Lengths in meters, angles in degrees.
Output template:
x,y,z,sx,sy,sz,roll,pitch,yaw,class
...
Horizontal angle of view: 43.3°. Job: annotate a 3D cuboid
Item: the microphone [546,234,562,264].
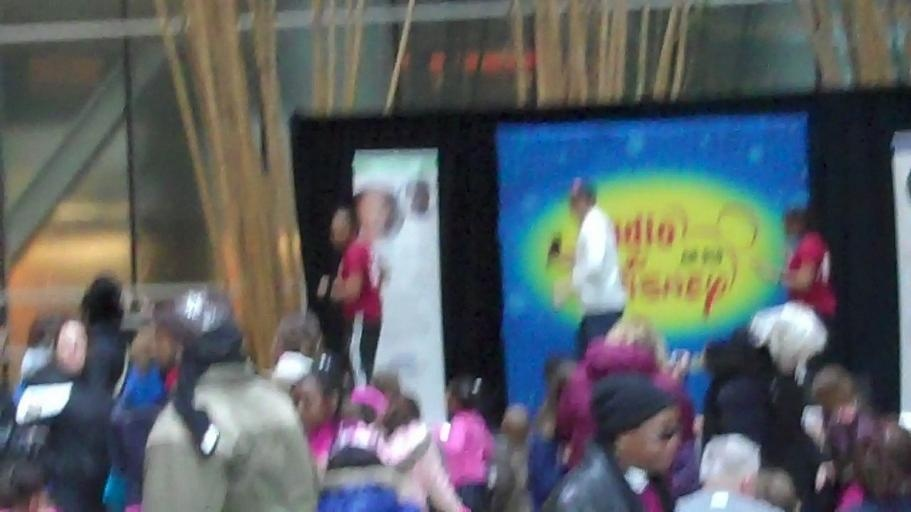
x,y,z,sx,sy,sz,roll,pitch,yaw,class
0.947,-0.063,11.043,0.152,0.262,0.135,23,-15,-5,microphone
